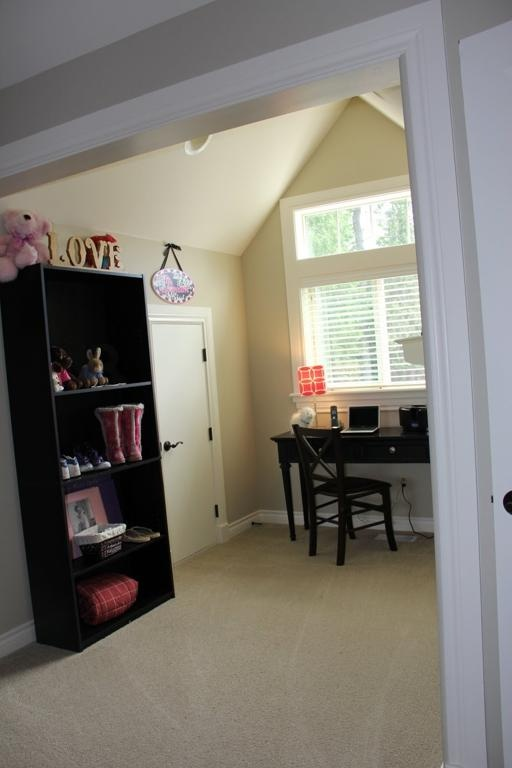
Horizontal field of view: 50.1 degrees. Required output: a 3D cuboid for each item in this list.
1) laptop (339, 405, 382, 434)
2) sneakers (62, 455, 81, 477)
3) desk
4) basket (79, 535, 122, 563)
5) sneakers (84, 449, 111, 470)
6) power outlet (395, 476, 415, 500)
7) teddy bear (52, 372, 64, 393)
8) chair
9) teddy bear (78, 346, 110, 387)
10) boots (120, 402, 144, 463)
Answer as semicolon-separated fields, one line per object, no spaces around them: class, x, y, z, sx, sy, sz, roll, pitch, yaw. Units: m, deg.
laptop;0.755;0.249;3.949;0.233;0.218;0.191;-1;-1;30
sneakers;-0.916;0.417;2.716;0.045;0.063;0.140;-3;5;-23
desk;0.594;0.684;3.675;0.495;0.909;0.609;-3;1;37
basket;-0.802;0.848;2.834;0.103;0.076;0.158;-5;-4;23
sneakers;-0.836;0.396;2.898;0.063;0.073;0.173;-5;13;-31
power outlet;1.092;0.764;4.051;0.134;0.146;0.032;4;5;28
teddy bear;-0.973;-0.008;2.682;0.032;0.096;0.065;-14;1;4
chair;0.620;0.683;3.813;0.609;0.899;0.960;-5;1;12
teddy bear;-0.872;-0.082;2.904;0.111;0.213;0.167;-4;0;19
boots;-0.717;0.268;3.171;0.125;0.321;0.304;-3;1;-17
